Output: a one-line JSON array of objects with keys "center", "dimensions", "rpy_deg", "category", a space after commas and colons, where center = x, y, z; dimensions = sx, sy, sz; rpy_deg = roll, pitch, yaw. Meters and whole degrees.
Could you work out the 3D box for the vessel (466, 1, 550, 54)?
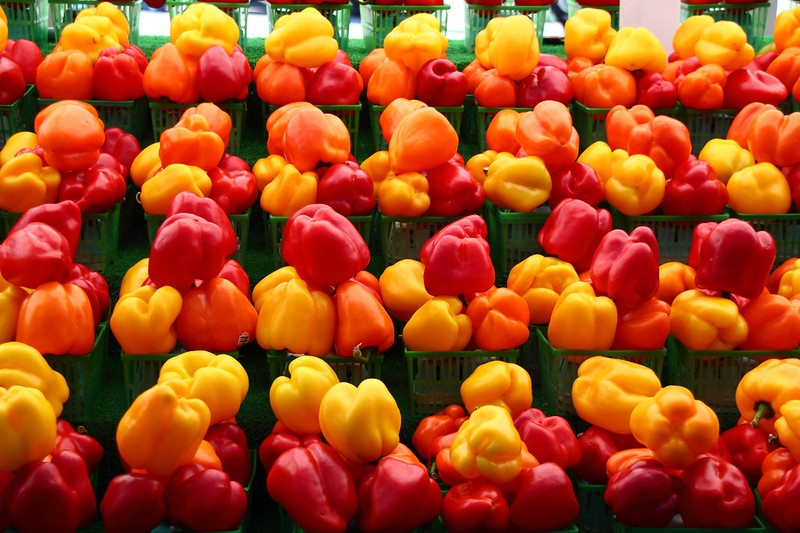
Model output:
[{"center": [0.718, -1.727, 4.845], "dimensions": [0.411, 0.265, 0.438], "rpy_deg": [2, 49, 3], "category": "vessel"}]
